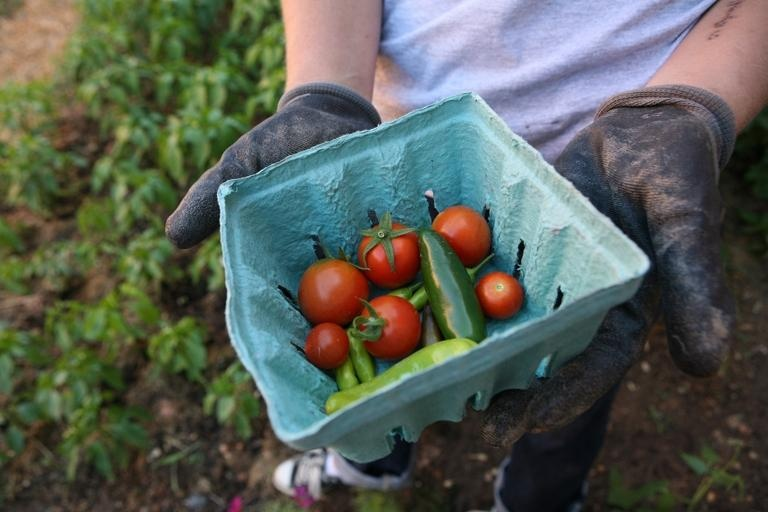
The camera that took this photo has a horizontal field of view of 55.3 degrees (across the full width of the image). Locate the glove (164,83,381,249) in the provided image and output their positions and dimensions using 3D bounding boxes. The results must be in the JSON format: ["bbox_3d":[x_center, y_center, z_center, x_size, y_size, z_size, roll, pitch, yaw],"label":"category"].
[{"bbox_3d":[-0.525,-0.402,3.311,0.632,0.255,0.911,25,66,15],"label":"glove"}]

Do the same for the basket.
[{"bbox_3d":[0.139,0.100,2.976,1.590,0.671,1.444,-35,51,-25],"label":"basket"}]
